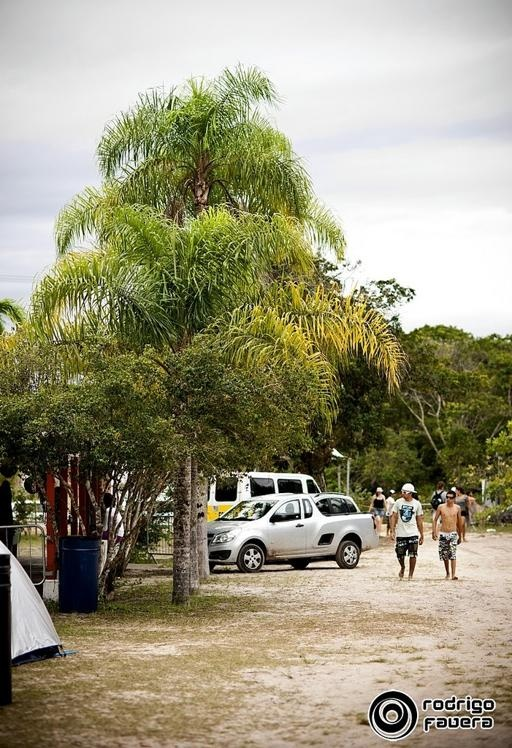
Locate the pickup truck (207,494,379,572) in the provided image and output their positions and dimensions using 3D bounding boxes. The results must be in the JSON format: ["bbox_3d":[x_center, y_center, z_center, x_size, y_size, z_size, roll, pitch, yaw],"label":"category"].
[{"bbox_3d":[0.534,3.021,21.594,2.982,1.276,1.390,7,-11,-36],"label":"pickup truck"}]

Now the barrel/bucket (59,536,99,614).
[{"bbox_3d":[-2.283,2.550,14.495,0.568,1.107,0.614,0,-23,0],"label":"barrel/bucket"}]

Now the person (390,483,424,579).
[{"bbox_3d":[2.515,2.600,18.858,0.473,1.620,0.438,1,10,12],"label":"person"}]

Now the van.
[{"bbox_3d":[0.204,2.894,25.273,2.587,1.535,1.305,-1,-6,22],"label":"van"}]
